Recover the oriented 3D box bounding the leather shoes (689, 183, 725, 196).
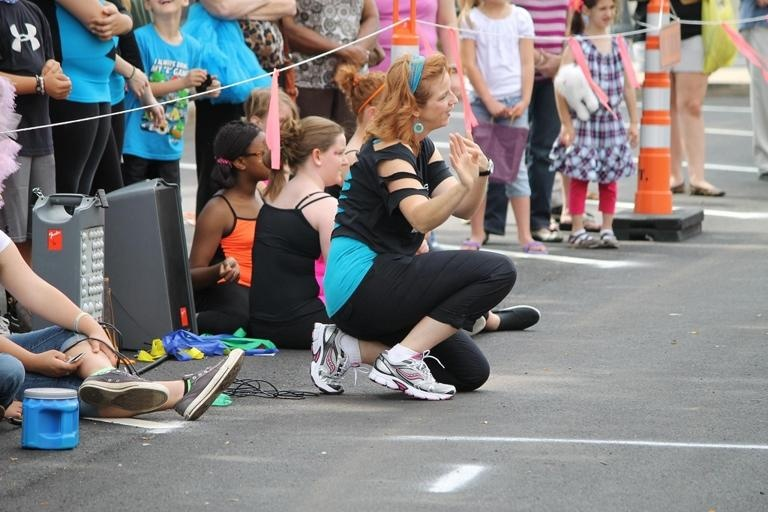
[{"bbox_3d":[3.955,-0.802,10.087,0.430,0.155,0.152,0,3,23],"label":"leather shoes"}]

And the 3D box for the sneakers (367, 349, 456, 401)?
[{"bbox_3d":[0.127,0.590,4.068,0.486,0.244,0.178,19,-3,-4],"label":"sneakers"}]

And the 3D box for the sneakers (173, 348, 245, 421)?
[{"bbox_3d":[-0.768,0.562,3.609,0.287,0.277,0.128,-1,5,-10],"label":"sneakers"}]

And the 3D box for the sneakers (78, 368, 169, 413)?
[{"bbox_3d":[-1.094,0.564,3.522,0.400,0.156,0.172,5,40,8],"label":"sneakers"}]

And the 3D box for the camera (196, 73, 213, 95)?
[{"bbox_3d":[-1.372,-1.310,6.313,0.153,0.152,0.123,-11,17,-38],"label":"camera"}]

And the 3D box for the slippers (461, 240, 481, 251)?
[{"bbox_3d":[0.786,-0.094,7.373,0.141,0.057,0.135,2,3,11],"label":"slippers"}]

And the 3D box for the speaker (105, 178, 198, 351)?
[{"bbox_3d":[-1.511,0.058,4.947,0.714,0.953,0.728,-7,2,-20],"label":"speaker"}]

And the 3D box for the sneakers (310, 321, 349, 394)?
[{"bbox_3d":[-0.280,0.522,4.167,0.214,0.385,0.136,-1,-5,2],"label":"sneakers"}]

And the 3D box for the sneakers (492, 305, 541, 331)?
[{"bbox_3d":[0.840,0.392,5.240,0.362,0.119,0.133,-10,-37,-2],"label":"sneakers"}]
